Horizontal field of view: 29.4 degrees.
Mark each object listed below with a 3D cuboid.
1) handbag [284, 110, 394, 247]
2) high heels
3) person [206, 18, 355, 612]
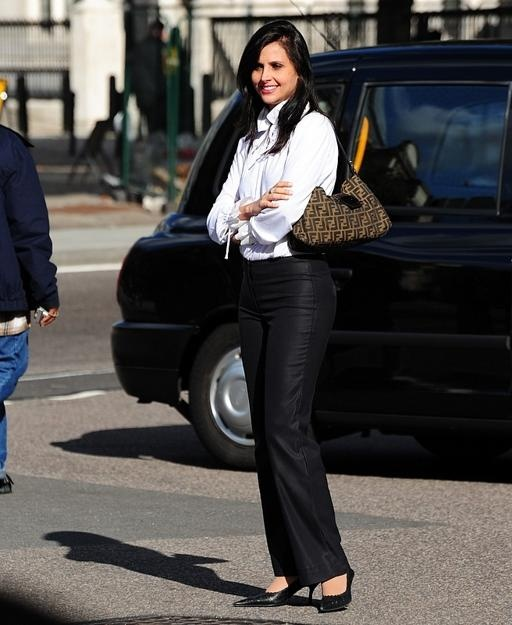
[{"bbox_3d":[0.224,-0.324,2.718,0.200,0.308,0.324,17,21,40],"label":"handbag"},{"bbox_3d":[0.128,0.799,2.884,0.435,0.159,0.128,2,-6,1],"label":"high heels"},{"bbox_3d":[0.084,0.027,2.838,0.401,1.681,0.702,0,16,-9],"label":"person"}]
